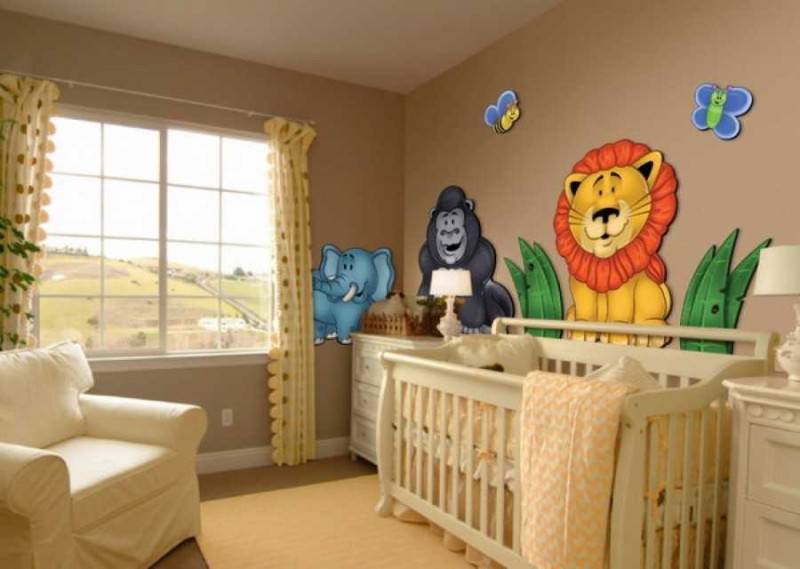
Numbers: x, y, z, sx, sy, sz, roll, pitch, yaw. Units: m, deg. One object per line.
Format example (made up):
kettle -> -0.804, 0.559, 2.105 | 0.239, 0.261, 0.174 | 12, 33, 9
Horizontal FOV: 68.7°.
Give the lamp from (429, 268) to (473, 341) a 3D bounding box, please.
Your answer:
lamp -> 0.355, 0.159, 4.196 | 0.290, 0.522, 0.305 | 4, -2, 1
